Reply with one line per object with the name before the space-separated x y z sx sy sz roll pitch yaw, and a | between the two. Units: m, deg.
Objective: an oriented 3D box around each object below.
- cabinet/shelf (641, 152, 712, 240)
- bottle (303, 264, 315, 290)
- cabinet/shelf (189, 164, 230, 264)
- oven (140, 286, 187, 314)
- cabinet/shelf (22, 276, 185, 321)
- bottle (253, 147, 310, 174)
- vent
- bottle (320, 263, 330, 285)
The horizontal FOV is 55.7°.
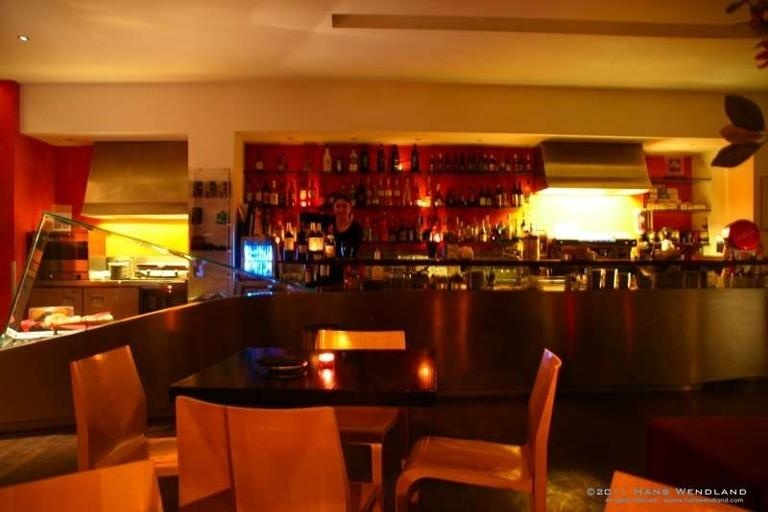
cabinet/shelf | 4.017 -0.751 10.364 0.753 1.289 0.444 8 -17 -8
bottle | -0.788 0.215 7.744 0.106 0.238 0.257 2 -2 -7
cabinet/shelf | -2.183 -0.438 9.258 0.513 1.392 0.172 4 12 0
oven | -2.104 0.400 6.995 0.424 0.285 0.232 1 -6 -34
cabinet/shelf | -2.585 0.366 6.940 1.394 0.442 0.373 1 25 -29
bottle | -1.361 -1.312 9.717 0.883 0.391 0.245 2 -2 -12
vent | -3.231 -0.865 9.893 1.270 0.830 0.976 1 3 -1
bottle | -0.616 0.203 7.683 0.085 0.198 0.131 2 -2 -8
